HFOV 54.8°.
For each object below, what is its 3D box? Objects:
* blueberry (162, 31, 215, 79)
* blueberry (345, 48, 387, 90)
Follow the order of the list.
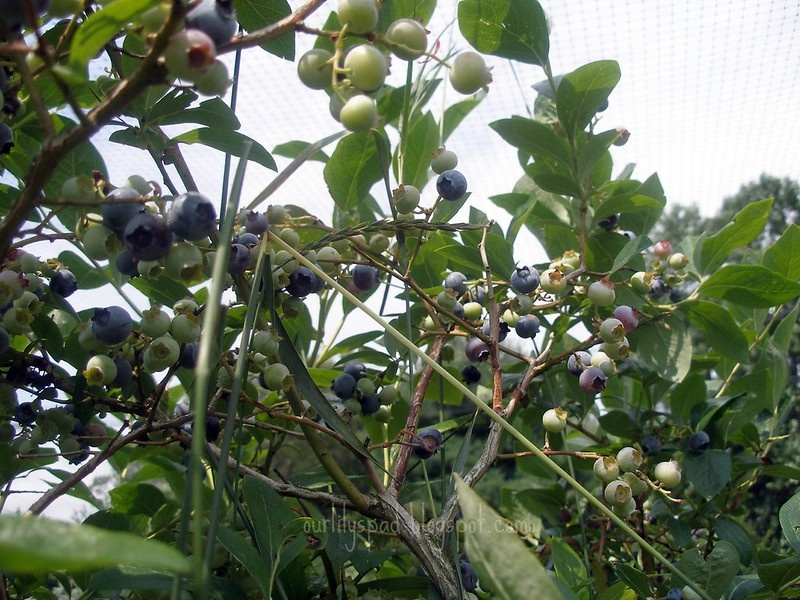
[{"bbox_3d":[-0.319,-0.366,1.207,0.066,0.091,0.069,4,0,8],"label":"blueberry"},{"bbox_3d":[-0.058,-0.406,1.352,0.065,0.088,0.070,-1,-1,19],"label":"blueberry"}]
